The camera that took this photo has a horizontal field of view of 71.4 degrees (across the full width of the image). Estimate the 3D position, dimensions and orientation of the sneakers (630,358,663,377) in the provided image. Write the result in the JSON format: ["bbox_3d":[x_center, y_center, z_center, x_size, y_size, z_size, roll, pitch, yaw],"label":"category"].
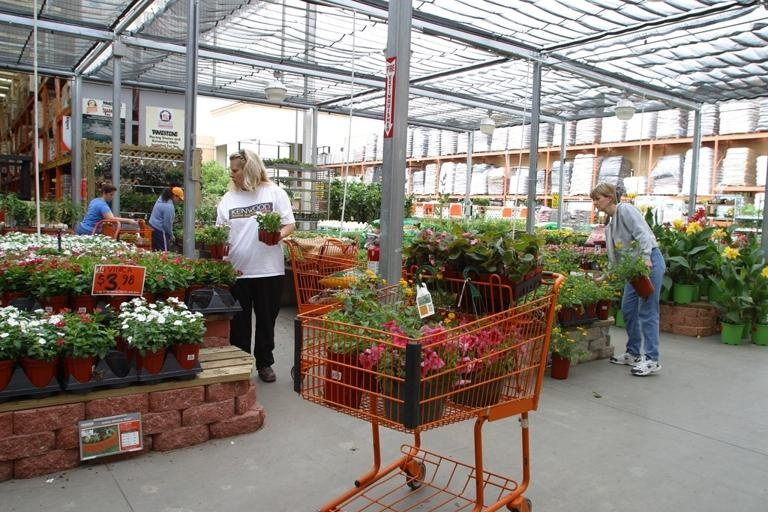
[{"bbox_3d":[2.989,1.264,6.091,0.420,0.185,0.153,1,-1,-22],"label":"sneakers"}]

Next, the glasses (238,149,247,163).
[{"bbox_3d":[-1.338,-0.949,5.146,0.093,0.099,0.119,9,1,-4],"label":"glasses"}]

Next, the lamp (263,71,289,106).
[{"bbox_3d":[-2.133,-3.373,10.749,0.435,0.537,0.440,4,1,30],"label":"lamp"}]

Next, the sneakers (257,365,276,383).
[{"bbox_3d":[-1.172,1.181,5.365,0.103,0.087,0.219,-4,0,-33],"label":"sneakers"}]

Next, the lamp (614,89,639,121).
[{"bbox_3d":[5.199,-3.189,11.511,0.309,0.554,1.000,3,7,26],"label":"lamp"}]

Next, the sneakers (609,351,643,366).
[{"bbox_3d":[2.914,1.229,6.443,0.335,0.140,0.132,3,4,16],"label":"sneakers"}]
